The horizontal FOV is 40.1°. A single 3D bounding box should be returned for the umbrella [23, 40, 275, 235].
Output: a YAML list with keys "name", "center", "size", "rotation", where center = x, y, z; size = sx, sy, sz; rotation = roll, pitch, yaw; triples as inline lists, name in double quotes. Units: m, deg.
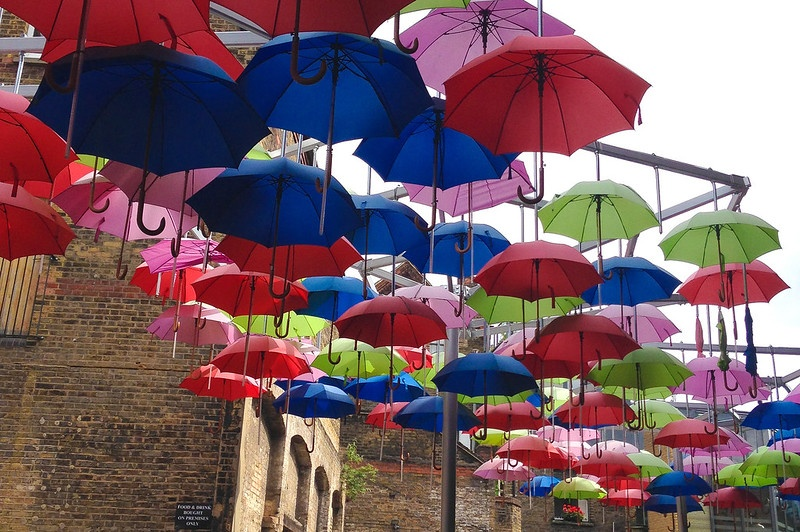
- name: "umbrella"
  center: [-2.425, -1.606, 11.689]
  size: [1.942, 1.770, 2.044]
  rotation: [-6, -39, 16]

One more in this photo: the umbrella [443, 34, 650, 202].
- name: "umbrella"
  center: [1.417, -1.448, 11.204]
  size: [1.630, 1.515, 1.781]
  rotation: [-9, -17, 24]
